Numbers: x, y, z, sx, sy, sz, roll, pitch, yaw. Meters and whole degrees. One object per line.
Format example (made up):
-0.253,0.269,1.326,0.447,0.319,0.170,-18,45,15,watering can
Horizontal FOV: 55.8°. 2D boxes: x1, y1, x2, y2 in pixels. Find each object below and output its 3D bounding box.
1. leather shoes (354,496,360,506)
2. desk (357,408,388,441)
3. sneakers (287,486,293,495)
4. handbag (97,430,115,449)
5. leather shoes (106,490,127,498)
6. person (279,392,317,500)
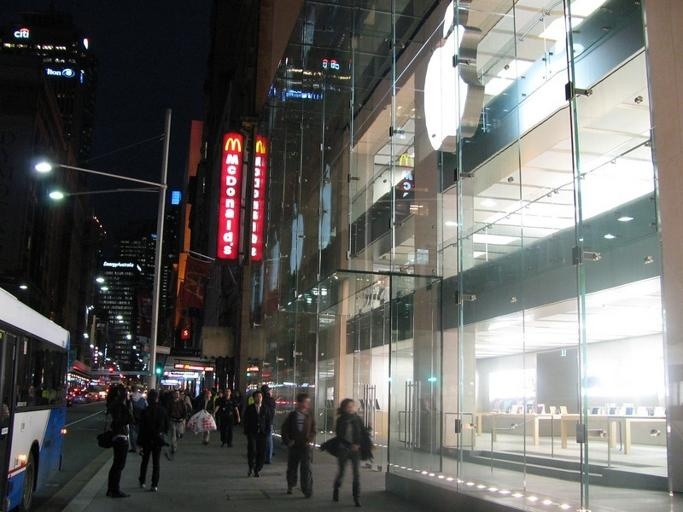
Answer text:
0.287,4.739,12.404,0.140,0.166,0.213,0,-16,1,leather shoes
1.102,5.253,19.553,0.609,1.160,1.160,-2,-15,3,desk
-1.105,5.057,13.903,0.092,0.209,0.199,14,-19,-42,sneakers
-4.929,3.844,13.484,0.313,0.299,1.046,5,-18,-18,handbag
-4.512,4.780,12.908,0.485,0.133,0.214,-4,-17,11,leather shoes
-0.980,4.165,14.249,0.724,2.172,1.428,1,-16,-5,person
